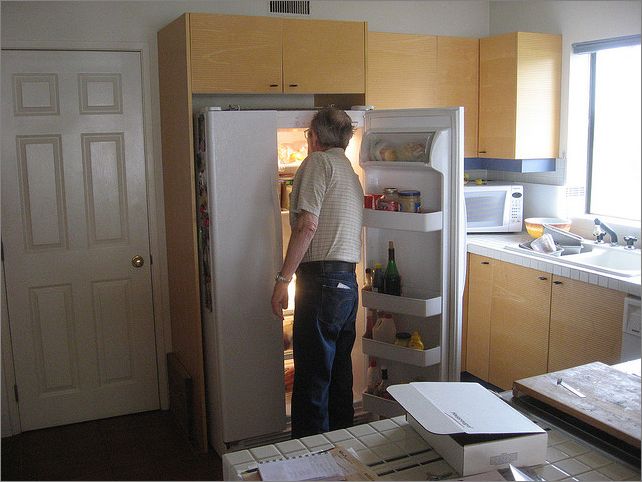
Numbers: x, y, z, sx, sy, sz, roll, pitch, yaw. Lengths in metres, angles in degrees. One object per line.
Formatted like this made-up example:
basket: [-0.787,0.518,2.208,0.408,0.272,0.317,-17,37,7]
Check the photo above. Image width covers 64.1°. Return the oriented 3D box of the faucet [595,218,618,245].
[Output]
faucet: [1.950,-0.069,3.515,0.151,0.166,0.187,6,13,29]

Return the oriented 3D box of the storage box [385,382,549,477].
storage box: [0.453,0.540,1.489,0.265,0.094,0.297,-6,16,-18]

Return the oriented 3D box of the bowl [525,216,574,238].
bowl: [1.693,-0.093,3.838,0.304,0.141,0.411,10,15,42]

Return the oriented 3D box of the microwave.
microwave: [1.287,-0.266,3.995,0.547,0.342,0.367,-3,8,-14]

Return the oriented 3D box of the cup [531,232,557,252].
cup: [1.506,0.017,3.466,0.161,0.103,0.141,3,12,16]

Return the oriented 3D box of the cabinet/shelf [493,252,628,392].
cabinet/shelf: [1.459,0.473,3.285,0.504,0.840,0.976,-3,8,-22]

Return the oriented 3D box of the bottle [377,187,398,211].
bottle: [0.363,-0.227,2.783,0.108,0.113,0.089,-2,11,-5]

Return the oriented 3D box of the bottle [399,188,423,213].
bottle: [0.464,-0.214,2.763,0.119,0.117,0.115,-2,8,-10]

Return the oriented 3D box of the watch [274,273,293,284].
watch: [-0.196,0.185,2.629,0.066,0.034,0.056,14,-2,-16]

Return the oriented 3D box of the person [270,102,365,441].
person: [0.005,0.190,2.741,0.376,1.760,0.496,5,13,27]
